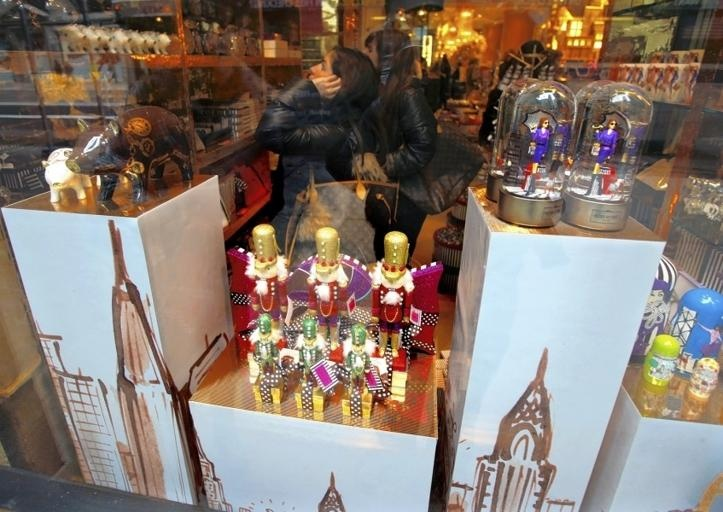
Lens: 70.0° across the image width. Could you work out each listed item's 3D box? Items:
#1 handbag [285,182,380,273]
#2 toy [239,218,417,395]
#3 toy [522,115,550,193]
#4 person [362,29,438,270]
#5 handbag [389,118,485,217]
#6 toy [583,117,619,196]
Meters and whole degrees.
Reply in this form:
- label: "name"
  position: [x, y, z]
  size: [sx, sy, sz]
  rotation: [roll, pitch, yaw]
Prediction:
- label: "handbag"
  position: [-0.178, -0.173, 2.879]
  size: [0.374, 0.477, 0.521]
  rotation: [1, 17, -7]
- label: "toy"
  position: [-0.154, 0.266, 2.447]
  size: [0.799, 0.785, 0.286]
  rotation: [1, 26, 1]
- label: "toy"
  position: [0.729, -0.418, 2.163]
  size: [0.089, 0.262, 0.269]
  rotation: [10, 26, 17]
- label: "person"
  position: [0.187, -0.593, 2.643]
  size: [0.403, 1.273, 0.462]
  rotation: [0, 40, 1]
- label: "handbag"
  position: [0.350, -0.477, 2.935]
  size: [0.599, 0.233, 0.629]
  rotation: [9, -9, -41]
- label: "toy"
  position: [1.027, -0.420, 2.195]
  size: [0.124, 0.267, 0.286]
  rotation: [11, 27, 20]
